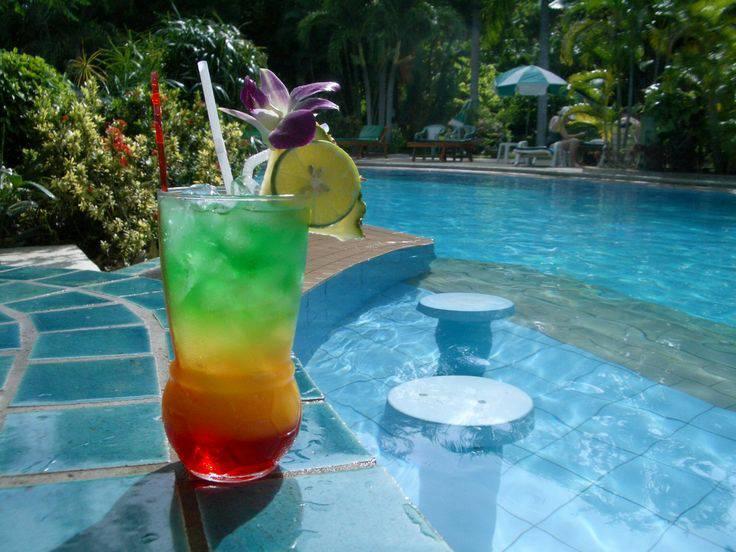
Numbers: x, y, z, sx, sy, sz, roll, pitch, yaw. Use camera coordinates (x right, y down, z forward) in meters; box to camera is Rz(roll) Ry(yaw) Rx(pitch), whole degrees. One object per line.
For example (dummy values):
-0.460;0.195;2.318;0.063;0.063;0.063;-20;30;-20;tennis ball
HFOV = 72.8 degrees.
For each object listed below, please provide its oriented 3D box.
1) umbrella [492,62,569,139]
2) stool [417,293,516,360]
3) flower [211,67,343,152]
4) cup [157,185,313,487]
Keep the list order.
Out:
5.788;-6.910;18.202;2.409;0.688;2.052;0;14;1;umbrella
0.637;0.297;3.156;0.585;0.234;0.686;2;12;-3;stool
-0.162;-0.295;0.956;0.166;0.166;0.174;4;7;37;flower
-0.244;0.094;0.967;0.304;0.500;0.246;0;8;-18;cup
